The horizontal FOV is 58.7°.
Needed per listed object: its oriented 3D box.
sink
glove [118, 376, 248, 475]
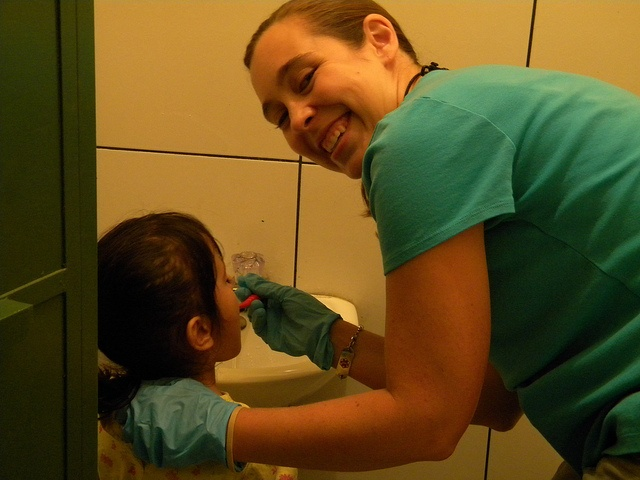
[{"bbox_3d":[-0.120,0.266,1.484,0.254,0.146,0.335,0,4,5],"label":"sink"},{"bbox_3d":[-0.227,0.340,1.027,0.234,0.140,0.076,2,-19,33],"label":"glove"}]
